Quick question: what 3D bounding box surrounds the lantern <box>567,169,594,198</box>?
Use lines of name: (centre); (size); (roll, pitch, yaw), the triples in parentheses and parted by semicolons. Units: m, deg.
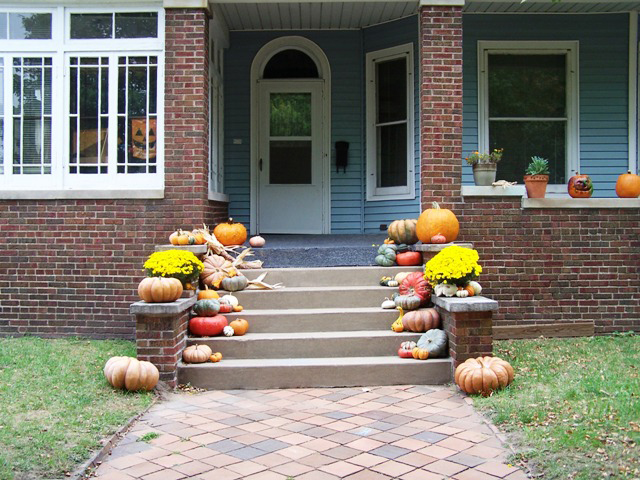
lantern: (3.899, -0.842, 9.721); (0.354, 0.430, 0.373); (1, 4, 26)

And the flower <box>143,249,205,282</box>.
flower: (-1.752, 0.255, 7.782); (0.596, 0.398, 0.509); (2, 4, -6)

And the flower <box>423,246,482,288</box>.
flower: (1.587, 0.277, 7.774); (0.504, 0.371, 0.548); (-4, 17, 7)

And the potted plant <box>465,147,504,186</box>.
potted plant: (2.468, -1.060, 9.490); (0.502, 0.525, 0.403); (5, 11, 39)

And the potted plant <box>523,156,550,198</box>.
potted plant: (3.087, -0.877, 9.335); (0.342, 0.563, 0.371); (2, 2, 40)
